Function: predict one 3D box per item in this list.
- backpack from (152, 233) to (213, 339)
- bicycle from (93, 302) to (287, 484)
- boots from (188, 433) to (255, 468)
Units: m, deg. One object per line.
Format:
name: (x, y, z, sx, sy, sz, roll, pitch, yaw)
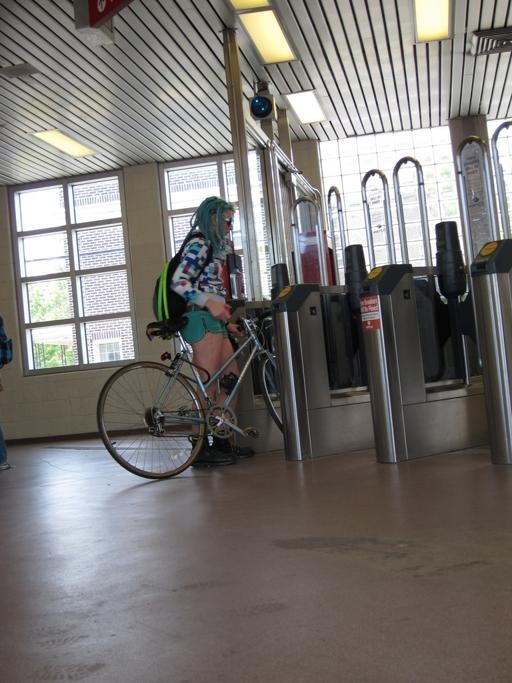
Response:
backpack: (-0.508, -0.414, 3.692, 0.369, 0.613, 0.429, -1, 7, -8)
bicycle: (-0.162, 0.295, 3.496, 1.768, 1.046, 0.793, -6, -7, -2)
boots: (-0.193, 0.728, 3.672, 0.458, 0.262, 0.167, -7, 4, -20)
